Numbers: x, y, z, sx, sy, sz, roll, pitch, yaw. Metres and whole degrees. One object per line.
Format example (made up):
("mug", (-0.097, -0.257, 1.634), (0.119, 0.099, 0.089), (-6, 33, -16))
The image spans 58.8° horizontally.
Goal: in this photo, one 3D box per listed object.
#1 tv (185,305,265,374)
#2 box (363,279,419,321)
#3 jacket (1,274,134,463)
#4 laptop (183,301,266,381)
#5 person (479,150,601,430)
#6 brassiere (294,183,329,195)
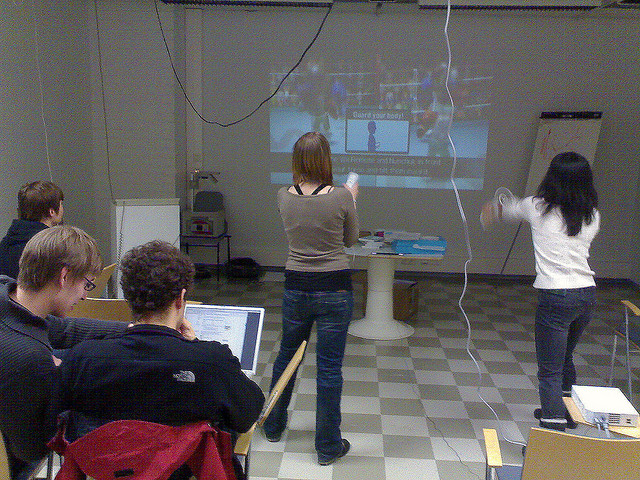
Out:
("tv", (-0.429, 0.422, 2.648), (0.379, 0.250, 0.291), (3, 6, 15))
("box", (0.838, 0.597, 5.551), (0.246, 0.372, 0.484), (4, 14, 11))
("jacket", (-1.052, 0.493, 2.383), (0.532, 0.915, 0.501), (0, 9, -32))
("laptop", (-0.445, 0.413, 2.655), (0.415, 0.295, 0.320), (3, 1, 1))
("person", (1.330, 0.310, 3.408), (0.589, 1.636, 0.426), (8, 16, 27))
("brassiere", (-0.054, -0.277, 3.118), (0.104, 0.039, 0.079), (2, 50, 8))
